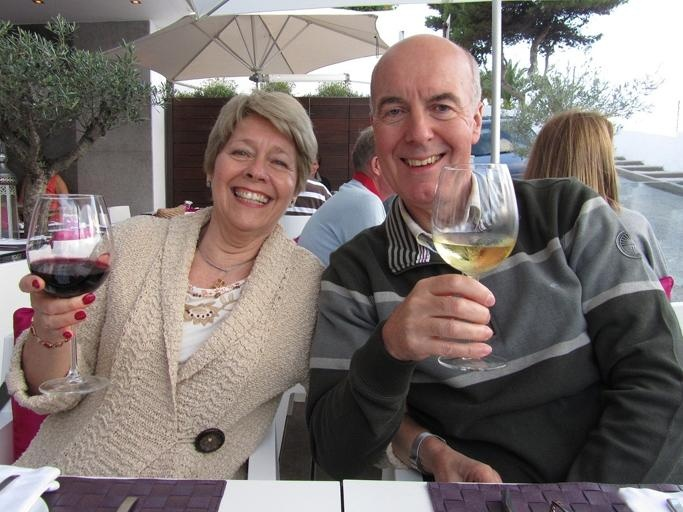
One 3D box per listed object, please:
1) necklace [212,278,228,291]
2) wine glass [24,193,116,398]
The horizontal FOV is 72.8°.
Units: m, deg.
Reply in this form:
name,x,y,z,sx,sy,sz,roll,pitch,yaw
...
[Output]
name,x,y,z,sx,sy,sz,roll,pitch,yaw
necklace,-0.439,0.098,1.662,0.031,0.038,0.010,14,-19,-6
wine glass,-0.715,0.090,1.257,0.208,0.543,0.249,1,-15,-1
